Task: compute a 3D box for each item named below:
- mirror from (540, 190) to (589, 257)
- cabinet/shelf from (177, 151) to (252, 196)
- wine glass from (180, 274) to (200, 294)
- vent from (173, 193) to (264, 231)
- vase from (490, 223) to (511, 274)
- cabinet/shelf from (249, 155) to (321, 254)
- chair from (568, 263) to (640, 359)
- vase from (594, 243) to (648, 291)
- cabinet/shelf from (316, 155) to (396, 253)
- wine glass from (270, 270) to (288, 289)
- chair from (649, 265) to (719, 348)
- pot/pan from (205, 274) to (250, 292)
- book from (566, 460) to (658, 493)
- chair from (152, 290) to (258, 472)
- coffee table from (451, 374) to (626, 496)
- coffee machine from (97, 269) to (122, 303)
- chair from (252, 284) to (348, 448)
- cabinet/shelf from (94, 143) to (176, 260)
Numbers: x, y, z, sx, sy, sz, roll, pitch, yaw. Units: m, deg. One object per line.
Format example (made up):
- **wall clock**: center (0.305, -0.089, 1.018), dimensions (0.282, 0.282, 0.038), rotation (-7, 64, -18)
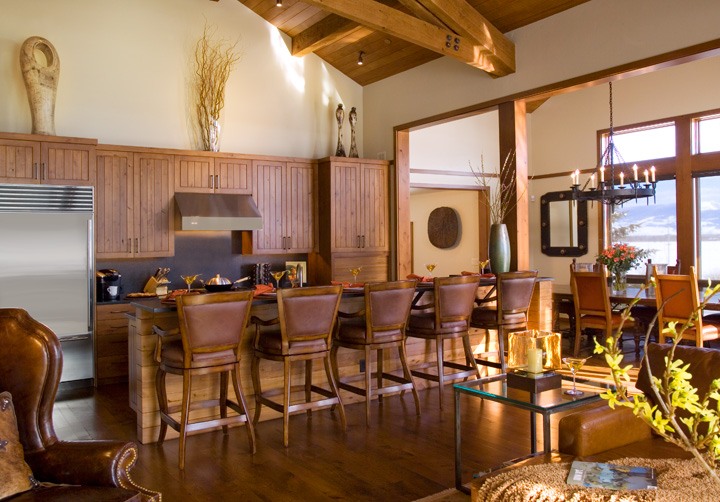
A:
- **mirror**: center (3.835, -0.512, 10.196), dimensions (0.207, 1.270, 0.995), rotation (-3, 5, -32)
- **cabinet/shelf**: center (-1.864, -1.003, 7.089), dimensions (1.041, 0.502, 0.371), rotation (2, 7, 2)
- **wine glass**: center (-1.988, 0.382, 6.308), dimensions (0.227, 0.253, 0.233), rotation (2, 5, 4)
- **vent**: center (-1.754, -0.511, 6.795), dimensions (1.014, 0.478, 0.431), rotation (-3, 4, -29)
- **vase**: center (1.642, -0.026, 6.354), dimensions (0.226, 0.591, 0.160), rotation (-1, 4, 6)
- **cabinet/shelf**: center (-1.107, -0.619, 7.670), dimensions (0.941, 1.310, 0.483), rotation (-1, 1, -23)
- **chair**: center (3.258, 0.832, 7.196), dimensions (0.732, 1.166, 0.671), rotation (4, -4, -35)
- **vase**: center (3.649, 0.137, 7.673), dimensions (0.816, 0.790, 0.713), rotation (-1, 1, -38)
- **cabinet/shelf**: center (-0.101, -0.682, 7.979), dimensions (1.064, 1.330, 0.479), rotation (-3, 5, -35)
- **wine glass**: center (-0.966, 0.346, 6.468), dimensions (0.226, 0.243, 0.224), rotation (2, -8, -26)
- **chair**: center (3.902, 0.666, 6.459), dimensions (0.667, 1.016, 2.596), rotation (2, 5, 34)
- **pot/pan**: center (-1.466, 0.359, 5.989), dimensions (0.394, 0.126, 0.245), rotation (-1, -3, 6)
- **book**: center (1.313, 1.185, 2.848), dimensions (0.478, 0.037, 0.250), rotation (-1, 4, 5)
- **chair**: center (-1.266, 0.978, 4.465), dimensions (0.868, 1.315, 0.854), rotation (1, 4, 2)
- **coffee table**: center (1.221, 1.027, 3.794), dimensions (0.897, 0.836, 0.878), rotation (1, -1, -44)
- **coffee machine**: center (-3.002, 0.415, 6.460), dimensions (0.339, 0.393, 0.359), rotation (2, 0, 37)
- **chair**: center (-0.554, 0.924, 4.814), dimensions (0.681, 1.194, 0.647), rotation (-1, 3, -29)
- **cabinet/shelf**: center (-2.770, -0.557, 6.761), dimensions (0.924, 1.284, 0.573), rotation (1, 1, -7)
